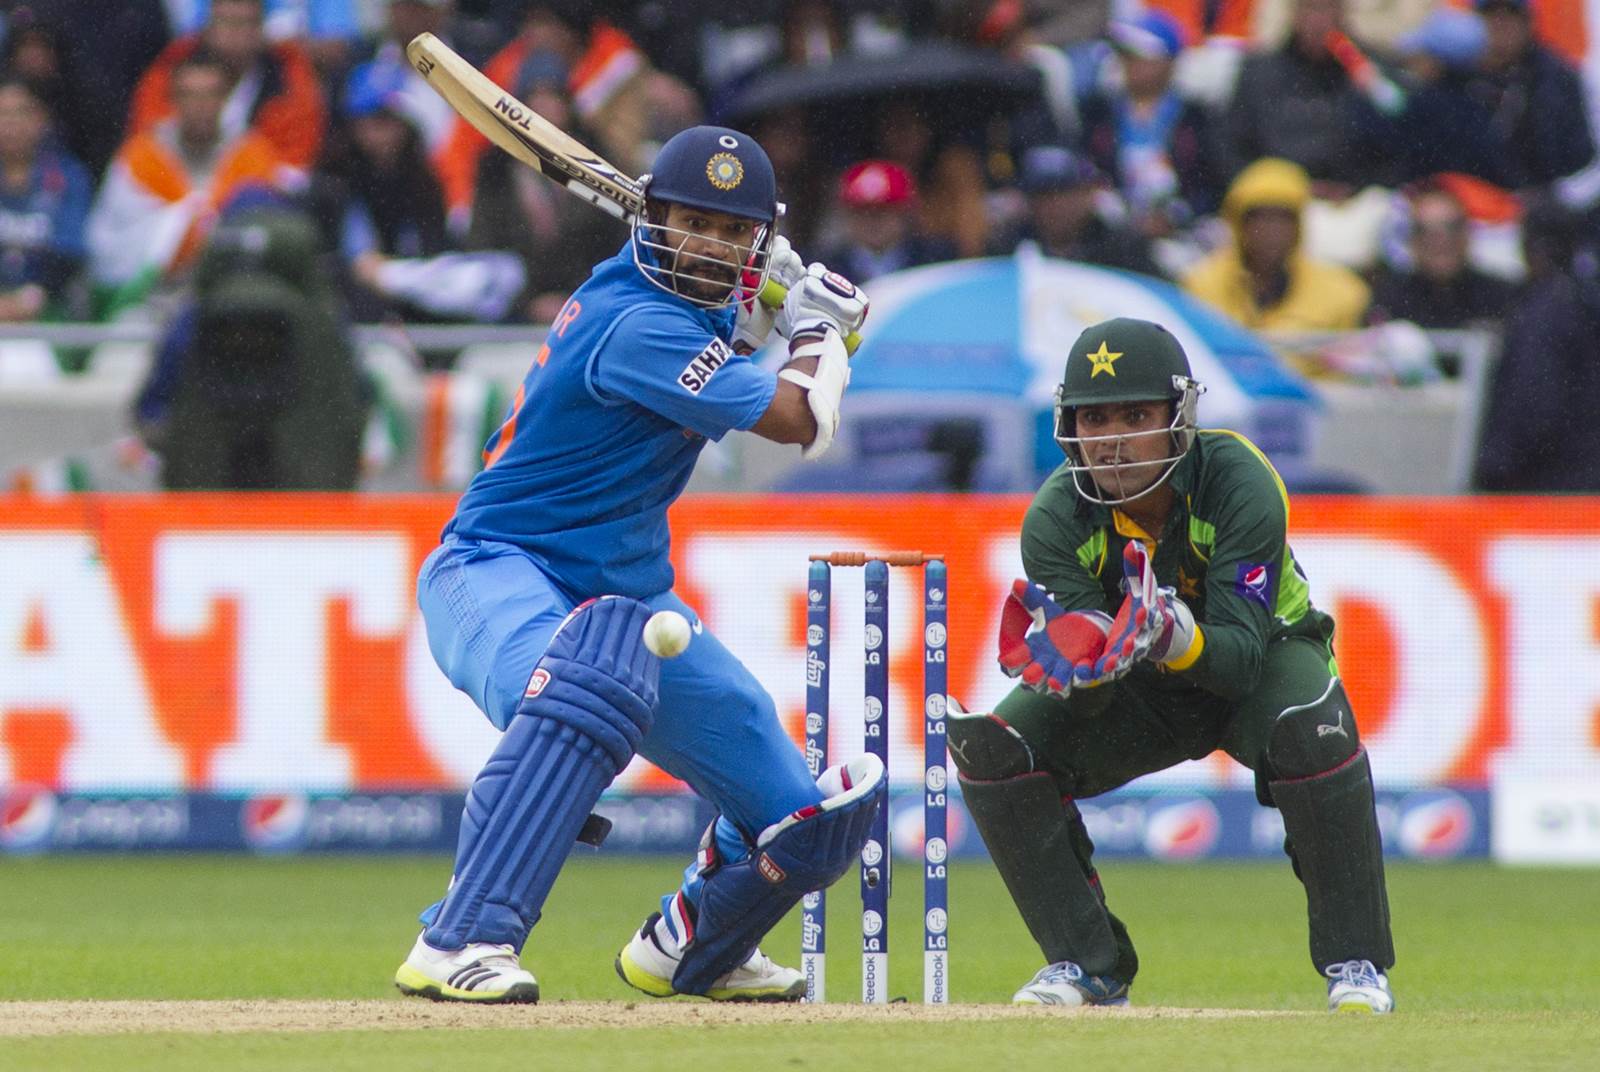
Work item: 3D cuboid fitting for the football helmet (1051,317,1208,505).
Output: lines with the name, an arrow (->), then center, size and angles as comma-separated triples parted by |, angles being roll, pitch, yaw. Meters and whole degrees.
football helmet -> 0.983, -0.403, 8.562 | 0.532, 0.563, 0.471 | -10, 9, -37

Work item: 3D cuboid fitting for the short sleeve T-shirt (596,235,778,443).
short sleeve T-shirt -> -0.329, -0.565, 8.306 | 0.491, 0.312, 0.362 | 27, 6, -10

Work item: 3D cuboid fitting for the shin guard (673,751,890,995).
shin guard -> -0.099, 1.060, 8.473 | 0.196, 0.741, 0.492 | 49, 8, 15

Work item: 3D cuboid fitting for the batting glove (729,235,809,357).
batting glove -> -0.110, -0.752, 8.706 | 0.137, 0.350, 0.249 | 21, 8, -16

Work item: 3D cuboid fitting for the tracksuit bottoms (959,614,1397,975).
tracksuit bottoms -> 1.219, 0.792, 8.613 | 1.298, 1.236, 0.772 | -9, -5, 27

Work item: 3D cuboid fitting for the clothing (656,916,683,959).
clothing -> -0.407, 1.239, 8.568 | 0.075, 0.137, 0.059 | -13, 5, -18

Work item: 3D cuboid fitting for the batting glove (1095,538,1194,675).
batting glove -> 1.029, 0.213, 8.247 | 0.290, 0.314, 0.153 | 4, -2, -37

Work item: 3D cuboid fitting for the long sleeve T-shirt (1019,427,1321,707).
long sleeve T-shirt -> 1.133, 0.096, 8.513 | 0.660, 0.637, 0.988 | -8, -11, 39

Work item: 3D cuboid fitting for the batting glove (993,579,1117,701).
batting glove -> 0.730, 0.305, 8.228 | 0.340, 0.341, 0.167 | 17, -4, 3

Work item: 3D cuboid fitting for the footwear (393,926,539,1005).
footwear -> -0.961, 1.236, 7.977 | 0.366, 0.180, 0.179 | 3, -8, 20

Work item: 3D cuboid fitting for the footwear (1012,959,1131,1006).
footwear -> 0.823, 1.367, 8.438 | 0.367, 0.144, 0.144 | 6, -9, -16

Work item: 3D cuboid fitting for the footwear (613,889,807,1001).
footwear -> -0.202, 1.323, 8.595 | 0.747, 0.371, 0.249 | 6, 26, -11

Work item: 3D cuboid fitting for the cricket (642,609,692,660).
cricket -> -0.389, 0.281, 8.052 | 0.131, 0.131, 0.130 | -1, 2, 7

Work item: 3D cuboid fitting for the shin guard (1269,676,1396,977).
shin guard -> 1.600, 0.900, 8.448 | 0.297, 0.883, 0.305 | -8, 4, 4

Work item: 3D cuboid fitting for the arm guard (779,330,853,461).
arm guard -> 0.061, -0.437, 8.404 | 0.130, 0.352, 0.258 | 17, -28, -15

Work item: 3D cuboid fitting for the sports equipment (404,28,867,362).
sports equipment -> -0.648, -1.190, 9.874 | 2.064, 0.247, 0.281 | 38, 43, 15

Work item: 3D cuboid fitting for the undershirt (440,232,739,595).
undershirt -> -0.531, -0.378, 8.537 | 0.999, 1.115, 1.031 | 13, 12, 11

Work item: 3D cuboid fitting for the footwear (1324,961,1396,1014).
footwear -> 1.671, 1.348, 8.317 | 0.193, 0.112, 0.170 | 3, -1, 11

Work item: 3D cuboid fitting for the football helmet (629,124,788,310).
football helmet -> -0.293, -0.961, 8.361 | 0.442, 0.525, 0.538 | 6, 26, -19
